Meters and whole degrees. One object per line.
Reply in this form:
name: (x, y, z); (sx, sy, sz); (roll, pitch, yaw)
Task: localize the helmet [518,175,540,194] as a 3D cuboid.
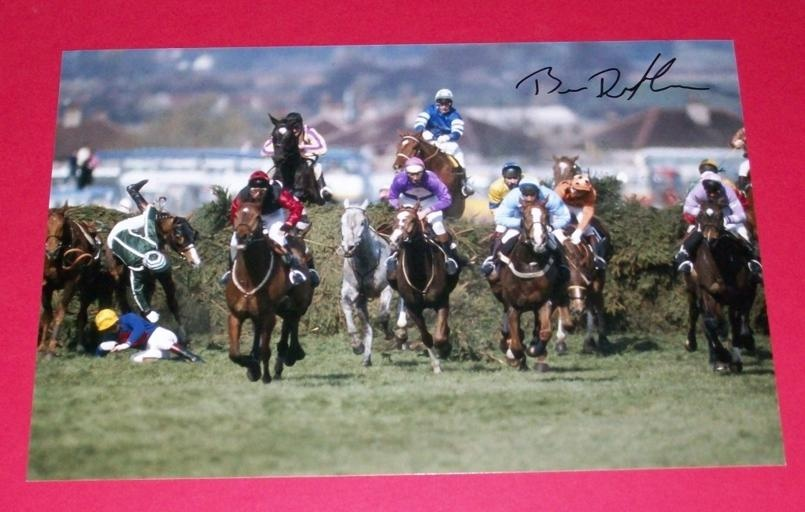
helmet: (1.237, -0.696, 11.099); (0.156, 0.174, 0.207); (-15, -13, -2)

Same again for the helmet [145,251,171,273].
helmet: (-2.424, 0.055, 11.147); (0.203, 0.207, 0.116); (6, -30, -14)

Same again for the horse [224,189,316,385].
horse: (-1.345, 0.370, 10.859); (0.577, 1.709, 1.032); (-1, -4, 17)

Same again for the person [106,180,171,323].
person: (-2.587, -0.023, 11.156); (0.769, 0.976, 0.369); (5, 3, 2)

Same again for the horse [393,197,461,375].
horse: (0.206, 0.309, 11.054); (0.673, 1.668, 0.530); (0, -4, 1)

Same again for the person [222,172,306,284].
person: (-1.353, -0.342, 11.324); (0.728, 1.045, 1.540); (-8, 14, 2)

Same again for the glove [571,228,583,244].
glove: (1.736, -0.206, 11.318); (0.108, 0.139, 0.046); (29, -2, 8)

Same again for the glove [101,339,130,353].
glove: (-2.827, 0.879, 11.030); (0.161, 0.144, 0.046); (-2, -11, -4)

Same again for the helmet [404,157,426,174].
helmet: (0.114, -0.912, 11.300); (0.184, 0.181, 0.140); (0, -4, -3)

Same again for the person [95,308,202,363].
person: (-2.504, 0.735, 11.076); (0.854, 0.338, 0.516); (17, -21, -16)

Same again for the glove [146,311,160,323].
glove: (-2.448, 0.587, 11.092); (0.107, 0.112, 0.035); (-11, 4, -12)

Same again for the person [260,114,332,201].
person: (-1.034, -0.993, 11.483); (0.489, 0.992, 0.761); (-24, 13, 0)

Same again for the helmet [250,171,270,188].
helmet: (-1.386, -0.746, 10.926); (0.186, 0.187, 0.216); (0, -3, -2)

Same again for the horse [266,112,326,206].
horse: (-1.100, -1.013, 11.311); (0.327, 0.772, 0.536); (-26, 19, -2)

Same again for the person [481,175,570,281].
person: (1.250, -0.397, 11.484); (0.625, 0.660, 1.248); (16, 4, 4)

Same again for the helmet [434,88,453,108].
helmet: (0.410, -1.606, 11.405); (0.157, 0.163, 0.183); (1, -15, -4)

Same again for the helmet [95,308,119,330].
helmet: (-2.903, 0.620, 11.072); (0.101, 0.184, 0.224); (55, -5, -40)
